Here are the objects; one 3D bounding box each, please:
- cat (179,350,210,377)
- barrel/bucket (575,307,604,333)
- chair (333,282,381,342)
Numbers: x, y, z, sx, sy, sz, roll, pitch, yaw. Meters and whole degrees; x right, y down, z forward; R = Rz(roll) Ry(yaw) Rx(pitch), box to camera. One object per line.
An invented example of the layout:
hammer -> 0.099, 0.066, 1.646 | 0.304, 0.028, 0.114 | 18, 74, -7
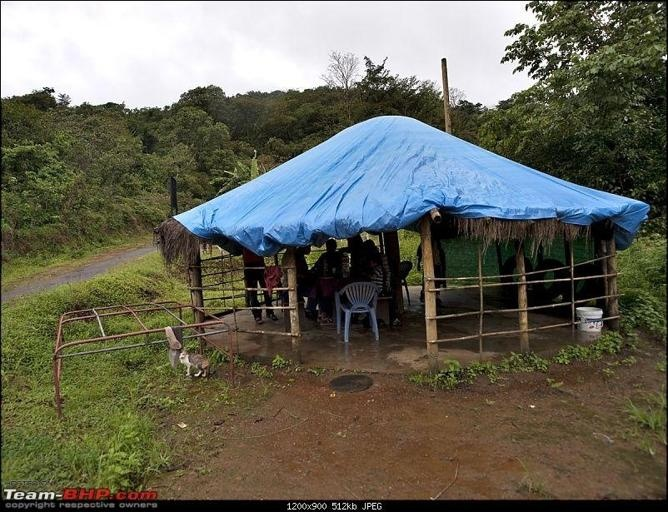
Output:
cat -> -2.571, 1.958, 9.274 | 0.506, 0.486, 0.401 | -5, 5, -19
barrel/bucket -> 4.928, 1.190, 9.661 | 0.463, 0.469, 0.477 | -2, -2, 0
chair -> 0.543, 1.068, 10.459 | 1.022, 1.224, 0.980 | -8, 11, -36
